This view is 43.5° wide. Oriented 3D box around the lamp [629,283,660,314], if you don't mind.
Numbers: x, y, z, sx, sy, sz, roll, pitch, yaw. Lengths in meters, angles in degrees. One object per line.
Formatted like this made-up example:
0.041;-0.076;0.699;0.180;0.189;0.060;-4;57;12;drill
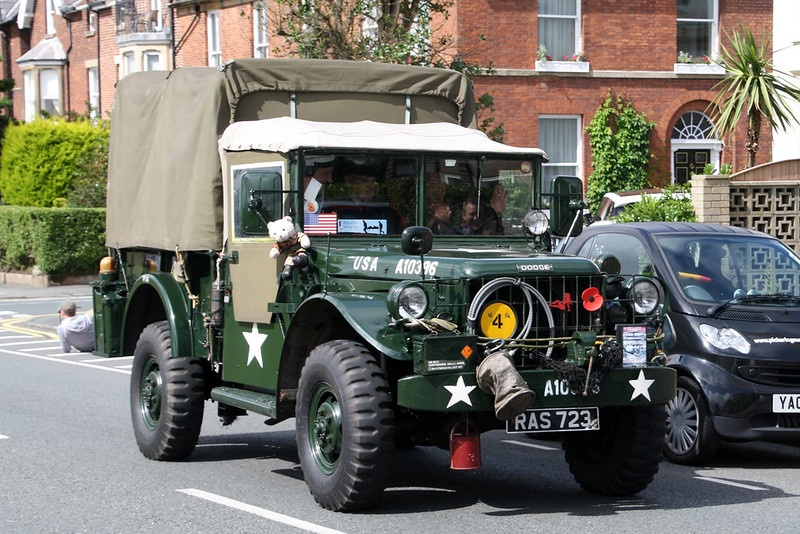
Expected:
2.416;0.296;9.890;0.311;0.321;0.073;-1;4;-20;lamp

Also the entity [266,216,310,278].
-1.132;-0.226;10.191;0.382;0.534;0.322;-17;15;20;entity

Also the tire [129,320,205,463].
-2.838;1.465;11.930;0.486;1.659;1.530;3;-5;-34;tire

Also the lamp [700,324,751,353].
3.653;0.805;11.361;0.276;0.130;0.399;-24;16;-34;lamp

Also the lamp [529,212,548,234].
1.491;-0.498;10.973;0.205;0.239;0.219;-8;8;-25;lamp

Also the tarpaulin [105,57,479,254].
-2.064;-1.723;12.208;2.884;1.816;2.792;-2;9;-30;tarpaulin

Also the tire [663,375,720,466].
3.251;1.686;11.177;0.277;0.910;0.868;0;-25;-31;tire

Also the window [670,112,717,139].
8.803;-4.299;30.245;1.630;1.281;0.067;1;-1;-5;window

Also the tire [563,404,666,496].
2.122;1.788;9.941;0.318;1.053;0.976;0;-1;-36;tire

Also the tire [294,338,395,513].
-0.511;1.489;9.458;0.428;1.289;1.221;1;-24;-28;tire

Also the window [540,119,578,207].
4.648;-3.311;29.344;1.190;2.372;0.334;-4;-29;16;window

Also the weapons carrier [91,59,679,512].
-0.485;-0.046;10.955;6.608;4.645;2.829;3;5;39;weapons carrier

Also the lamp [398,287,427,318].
0.098;0.314;9.162;0.281;0.316;0.295;-3;4;-7;lamp

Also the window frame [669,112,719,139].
8.764;-4.289;30.065;1.641;1.292;0.114;1;-1;-5;window frame
